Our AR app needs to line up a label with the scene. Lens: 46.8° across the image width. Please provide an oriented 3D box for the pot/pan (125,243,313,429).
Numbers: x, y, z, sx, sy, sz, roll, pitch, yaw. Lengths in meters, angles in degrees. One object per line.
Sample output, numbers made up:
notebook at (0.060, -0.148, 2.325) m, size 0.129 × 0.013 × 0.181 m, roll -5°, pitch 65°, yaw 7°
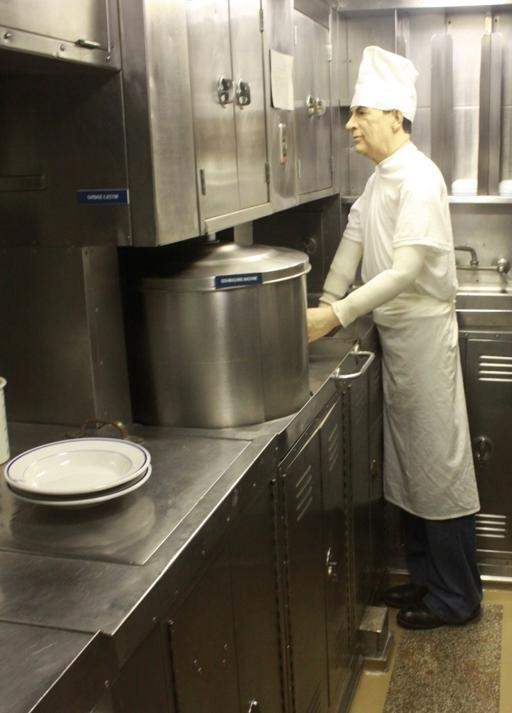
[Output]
pot/pan at (-0.090, -0.052, 1.373) m, size 0.347 × 0.381 × 0.368 m, roll 7°, pitch 17°, yaw 38°

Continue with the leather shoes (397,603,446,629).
leather shoes at (0.634, 1.018, 2.288) m, size 0.184 × 0.105 × 0.080 m, roll 6°, pitch 5°, yaw 1°

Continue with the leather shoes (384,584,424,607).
leather shoes at (0.609, 0.979, 2.420) m, size 0.177 × 0.098 × 0.075 m, roll 3°, pitch 7°, yaw -5°

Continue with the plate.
plate at (-0.272, 0.170, 0.910) m, size 0.119 × 0.042 × 0.137 m, roll 0°, pitch 20°, yaw 0°

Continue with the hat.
hat at (0.437, -0.923, 2.038) m, size 0.219 × 0.273 × 0.187 m, roll 5°, pitch 21°, yaw -9°
